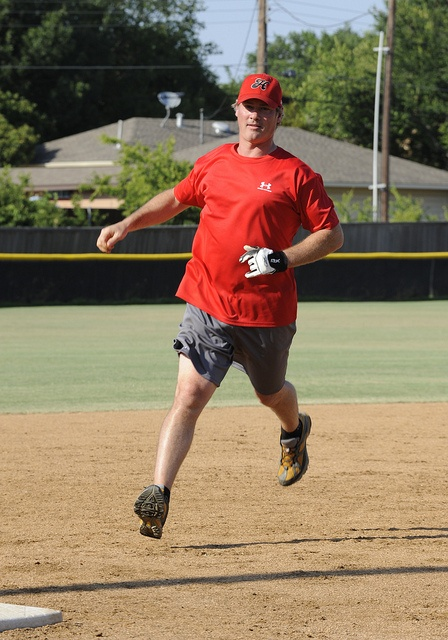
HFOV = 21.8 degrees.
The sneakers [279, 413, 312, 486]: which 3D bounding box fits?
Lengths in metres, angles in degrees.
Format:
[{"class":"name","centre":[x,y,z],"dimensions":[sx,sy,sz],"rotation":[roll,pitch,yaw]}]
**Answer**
[{"class":"sneakers","centre":[0.391,0.701,6.185],"dimensions":[0.151,0.396,0.211],"rotation":[8,-8,20]}]

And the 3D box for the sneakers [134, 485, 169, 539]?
[{"class":"sneakers","centre":[-0.303,0.826,5.004],"dimensions":[0.109,0.247,0.131],"rotation":[15,21,18]}]

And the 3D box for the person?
[{"class":"person","centre":[0.117,-0.105,5.497],"dimensions":[0.864,2.121,1.379],"rotation":[3,7,1]}]

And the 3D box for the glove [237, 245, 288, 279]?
[{"class":"glove","centre":[0.171,-0.261,5.302],"dimensions":[0.233,0.143,0.117],"rotation":[8,8,42]}]
